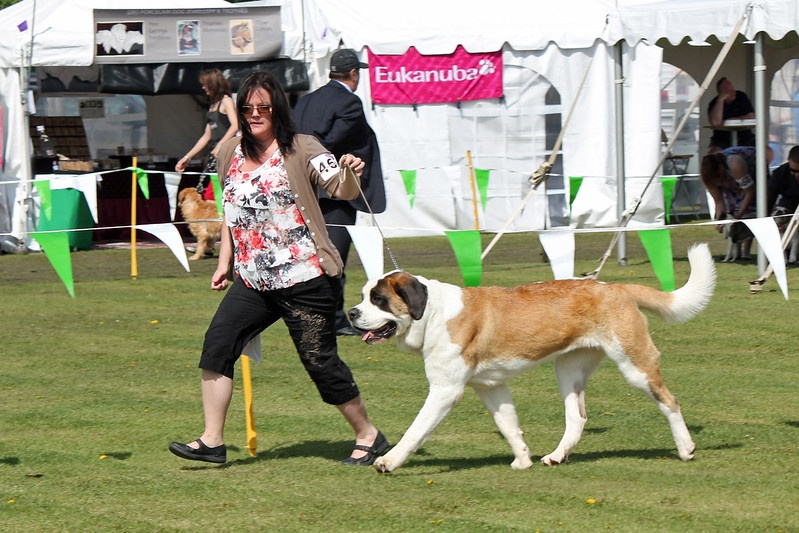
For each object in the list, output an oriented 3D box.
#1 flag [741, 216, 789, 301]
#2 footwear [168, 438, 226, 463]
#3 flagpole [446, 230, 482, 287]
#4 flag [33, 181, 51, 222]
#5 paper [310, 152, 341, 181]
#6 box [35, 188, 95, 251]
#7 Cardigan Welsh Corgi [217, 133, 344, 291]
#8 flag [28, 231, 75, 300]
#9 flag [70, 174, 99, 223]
[{"bbox_3d":[3.478,-0.067,9.367,0.261,0.743,0.609,-12,1,-10],"label":"flag"},{"bbox_3d":[-1.459,1.376,7.572,0.529,0.122,0.157,8,-3,-15],"label":"footwear"},{"bbox_3d":[0.660,-0.079,9.998,0.502,0.472,0.162,-3,7,11],"label":"flagpole"},{"bbox_3d":[-5.504,-0.987,15.723,0.231,0.646,0.940,-3,7,-17],"label":"flag"},{"bbox_3d":[-0.526,-0.707,7.417,0.187,0.204,0.093,-4,9,-27],"label":"paper"},{"bbox_3d":[-5.045,-0.727,15.228,1.027,1.096,0.794,-1,-27,-4],"label":"box"},{"bbox_3d":[-0.941,-0.443,7.575,1.256,0.810,0.562,2,8,1],"label":"Cardigan Welsh Corgi"},{"bbox_3d":[-3.848,-0.005,11.373,0.329,0.771,1.037,-3,7,-18],"label":"flag"},{"bbox_3d":[-4.620,-1.027,15.185,0.287,0.620,0.870,-9,11,-26],"label":"flag"}]
